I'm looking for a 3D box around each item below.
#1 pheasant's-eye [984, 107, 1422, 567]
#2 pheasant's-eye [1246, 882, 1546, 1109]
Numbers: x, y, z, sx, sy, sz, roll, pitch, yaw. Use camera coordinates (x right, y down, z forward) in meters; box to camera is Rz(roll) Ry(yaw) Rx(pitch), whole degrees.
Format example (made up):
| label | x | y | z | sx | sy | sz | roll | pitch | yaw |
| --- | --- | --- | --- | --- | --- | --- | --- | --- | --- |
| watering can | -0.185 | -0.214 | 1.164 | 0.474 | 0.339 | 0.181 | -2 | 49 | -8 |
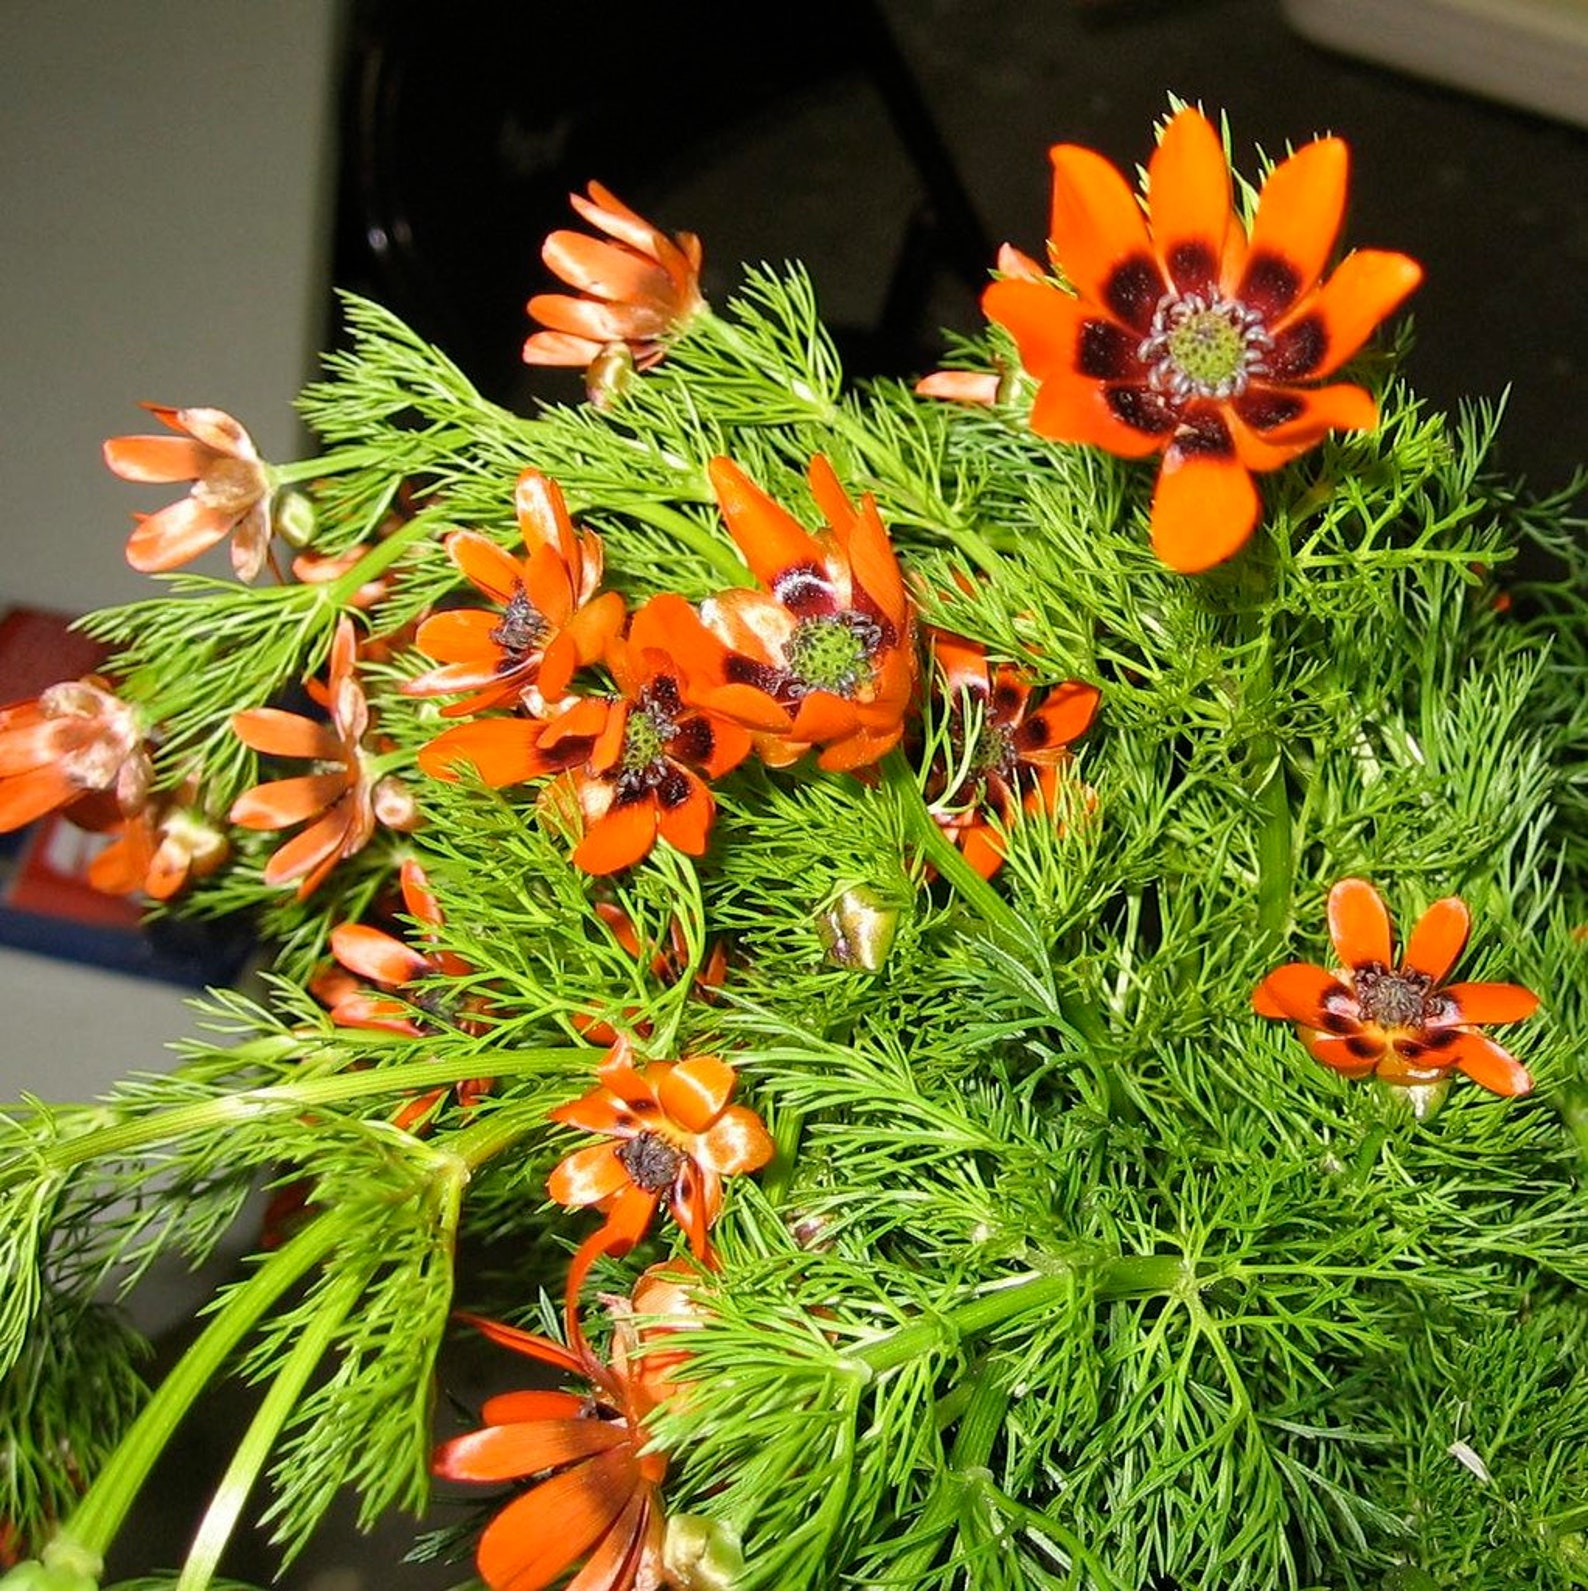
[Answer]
| label | x | y | z | sx | sy | sz | roll | pitch | yaw |
| --- | --- | --- | --- | --- | --- | --- | --- | --- | --- |
| pheasant's-eye | 0.158 | -0.219 | 0.641 | 0.121 | 0.152 | 0.049 | -17 | 86 | 48 |
| pheasant's-eye | 0.262 | 0.081 | 0.666 | 0.107 | 0.072 | 0.082 | 19 | 78 | 19 |
